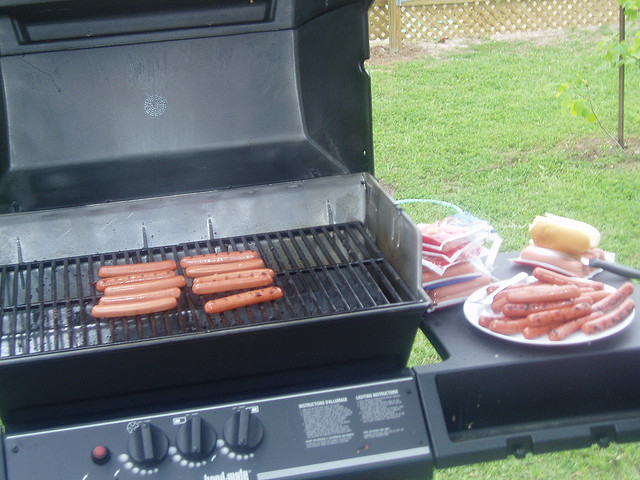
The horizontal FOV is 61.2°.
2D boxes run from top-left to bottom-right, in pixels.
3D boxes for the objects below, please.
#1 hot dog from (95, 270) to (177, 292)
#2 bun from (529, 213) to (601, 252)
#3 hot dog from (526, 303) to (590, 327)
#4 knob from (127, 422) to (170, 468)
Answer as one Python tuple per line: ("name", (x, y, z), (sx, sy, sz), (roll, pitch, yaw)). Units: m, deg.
("hot dog", (-0.518, 0.115, 1.524), (0.183, 0.038, 0.036), (-6, 14, -1))
("bun", (0.758, -0.024, 1.689), (0.197, 0.111, 0.084), (1, 16, 29))
("hot dog", (0.634, 0.200, 1.438), (0.170, 0.042, 0.029), (-9, 14, -4))
("knob", (-0.410, 0.490, 1.292), (0.074, 0.031, 0.104), (-7, 50, -16))
